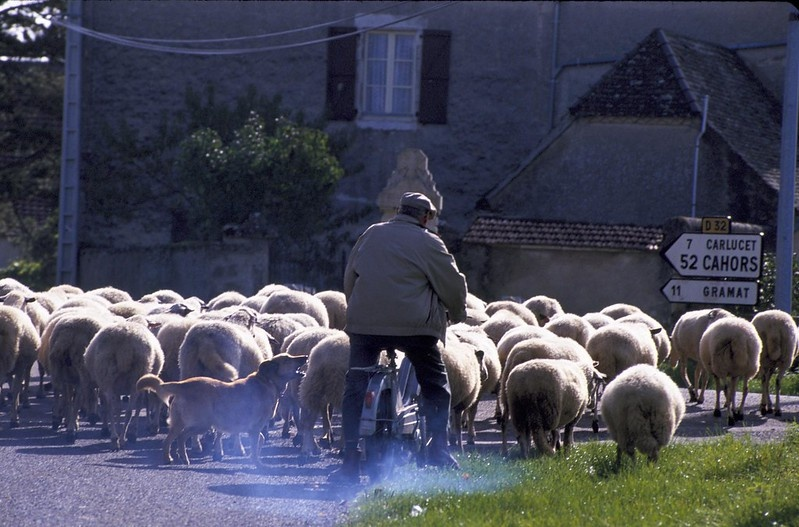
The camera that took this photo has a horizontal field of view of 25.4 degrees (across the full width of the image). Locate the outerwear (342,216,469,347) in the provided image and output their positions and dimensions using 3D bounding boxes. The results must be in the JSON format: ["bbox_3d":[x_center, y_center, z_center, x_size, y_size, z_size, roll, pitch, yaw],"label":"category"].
[{"bbox_3d":[0.124,0.246,33.621,2.511,2.220,2.406,5,-2,17],"label":"outerwear"}]

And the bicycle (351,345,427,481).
[{"bbox_3d":[-0.120,2.851,32.840,1.269,1.794,2.531,-4,6,14],"label":"bicycle"}]

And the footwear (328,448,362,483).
[{"bbox_3d":[-0.875,3.799,33.020,0.823,0.726,0.388,6,-3,1],"label":"footwear"}]

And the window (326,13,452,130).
[{"bbox_3d":[-0.260,-4.967,45.642,3.167,2.437,0.466,1,-3,0],"label":"window"}]

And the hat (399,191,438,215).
[{"bbox_3d":[0.418,-1.117,33.036,0.584,0.222,0.423,9,3,-40],"label":"hat"}]

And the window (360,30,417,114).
[{"bbox_3d":[-0.212,-5.008,45.859,1.612,2.268,0.095,5,6,26],"label":"window"}]
